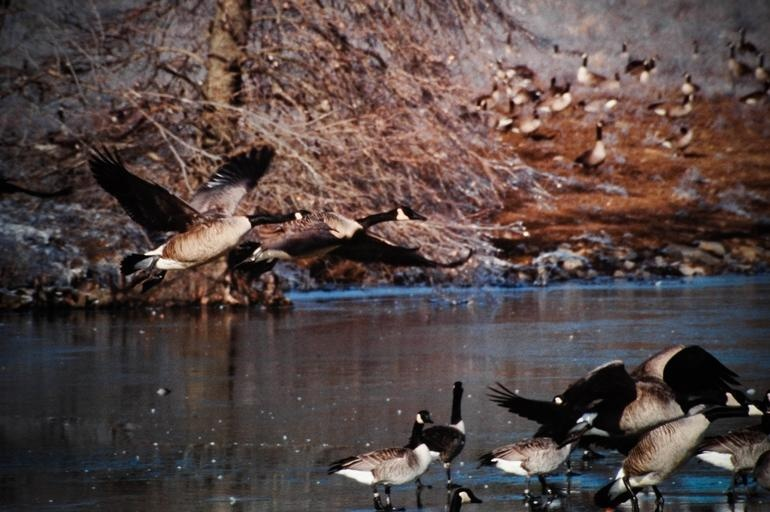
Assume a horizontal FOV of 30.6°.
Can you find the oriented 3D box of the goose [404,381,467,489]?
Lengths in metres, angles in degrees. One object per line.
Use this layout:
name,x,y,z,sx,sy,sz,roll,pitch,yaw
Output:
goose,0.711,2.617,19.930,0.695,1.289,1.954,7,-1,-4
